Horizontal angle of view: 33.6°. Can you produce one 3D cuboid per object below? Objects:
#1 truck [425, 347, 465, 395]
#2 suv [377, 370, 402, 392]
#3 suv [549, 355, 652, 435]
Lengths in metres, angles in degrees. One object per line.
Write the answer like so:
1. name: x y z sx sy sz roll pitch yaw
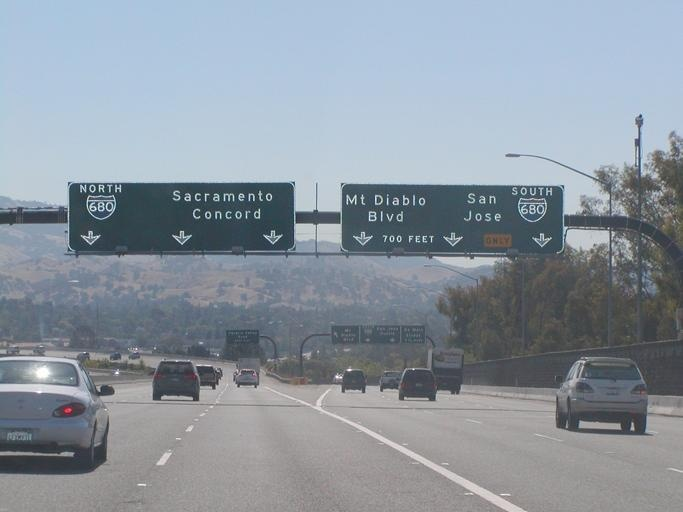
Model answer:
1. truck: 8.150 8.465 82.356 2.386 3.341 3.132 -1 -5 1
2. suv: 3.583 9.405 85.137 1.185 1.247 2.321 0 2 0
3. suv: 8.229 4.362 36.269 2.290 2.441 4.633 1 -3 3
